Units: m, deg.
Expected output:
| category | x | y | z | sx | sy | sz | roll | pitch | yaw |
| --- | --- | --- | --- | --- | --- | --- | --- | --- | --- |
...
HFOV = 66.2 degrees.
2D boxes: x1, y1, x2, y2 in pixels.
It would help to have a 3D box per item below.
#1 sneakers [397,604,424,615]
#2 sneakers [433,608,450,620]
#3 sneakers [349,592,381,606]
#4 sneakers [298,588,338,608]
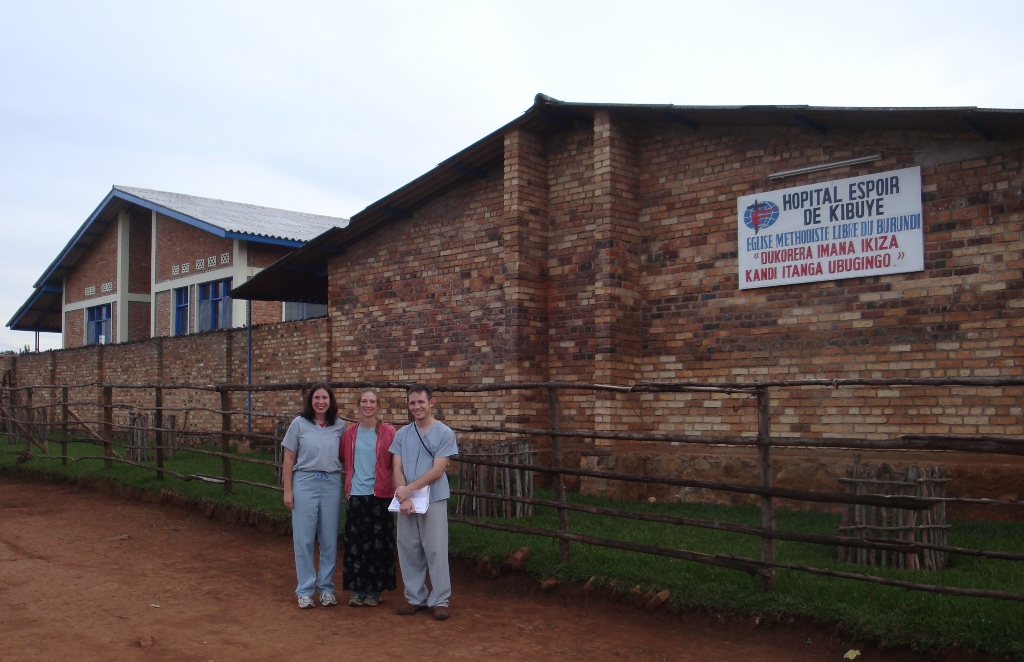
| category | x | y | z | sx | sy | sz | roll | pitch | yaw |
| --- | --- | --- | --- | --- | --- | --- | --- | --- | --- |
| sneakers | -1.100 | 3.057 | 8.615 | 0.278 | 0.108 | 0.107 | 10 | -13 | -30 |
| sneakers | -0.747 | 3.038 | 8.472 | 0.172 | 0.123 | 0.139 | 2 | -5 | -12 |
| sneakers | -1.629 | 3.000 | 8.856 | 0.385 | 0.145 | 0.269 | 3 | -5 | -18 |
| sneakers | -2.136 | 2.993 | 8.747 | 0.196 | 0.159 | 0.428 | -39 | -21 | 13 |
